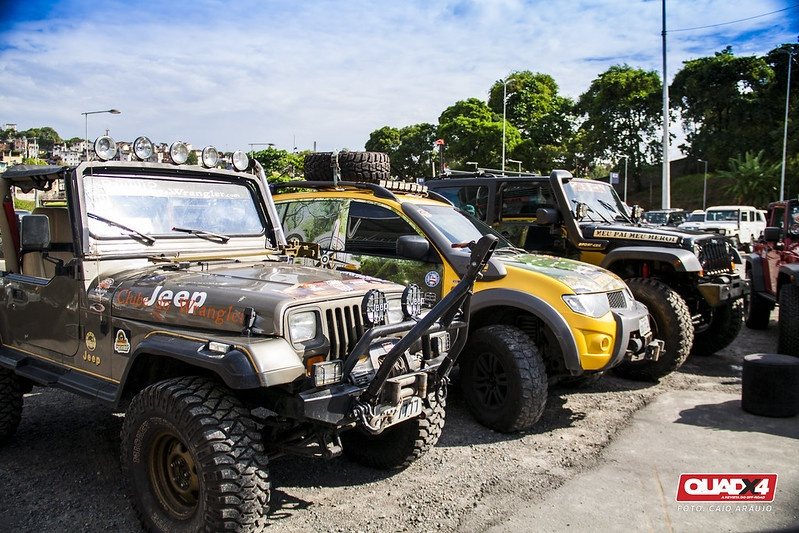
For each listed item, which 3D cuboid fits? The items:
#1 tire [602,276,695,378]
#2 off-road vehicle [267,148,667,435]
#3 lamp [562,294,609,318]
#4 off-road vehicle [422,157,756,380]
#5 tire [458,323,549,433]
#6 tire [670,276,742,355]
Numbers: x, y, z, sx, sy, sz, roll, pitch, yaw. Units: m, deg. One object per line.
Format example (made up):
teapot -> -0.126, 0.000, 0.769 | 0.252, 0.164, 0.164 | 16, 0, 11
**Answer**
tire -> 3.635, 0.955, 7.641 | 0.445, 1.238, 1.323 | 2, -8, -26
off-road vehicle -> 0.860, 0.134, 7.169 | 5.444, 2.749, 2.772 | 2, 3, 33
lamp -> 2.024, 0.417, 5.710 | 0.420, 0.136, 0.281 | 5, 2, 7
off-road vehicle -> 2.977, -0.206, 9.263 | 5.265, 2.666, 2.848 | 1, 3, 34
tire -> 1.126, 1.232, 5.736 | 0.503, 1.180, 1.132 | -6, -11, -37
tire -> 5.230, 0.665, 8.851 | 0.479, 1.282, 1.374 | -13, -3, 19
